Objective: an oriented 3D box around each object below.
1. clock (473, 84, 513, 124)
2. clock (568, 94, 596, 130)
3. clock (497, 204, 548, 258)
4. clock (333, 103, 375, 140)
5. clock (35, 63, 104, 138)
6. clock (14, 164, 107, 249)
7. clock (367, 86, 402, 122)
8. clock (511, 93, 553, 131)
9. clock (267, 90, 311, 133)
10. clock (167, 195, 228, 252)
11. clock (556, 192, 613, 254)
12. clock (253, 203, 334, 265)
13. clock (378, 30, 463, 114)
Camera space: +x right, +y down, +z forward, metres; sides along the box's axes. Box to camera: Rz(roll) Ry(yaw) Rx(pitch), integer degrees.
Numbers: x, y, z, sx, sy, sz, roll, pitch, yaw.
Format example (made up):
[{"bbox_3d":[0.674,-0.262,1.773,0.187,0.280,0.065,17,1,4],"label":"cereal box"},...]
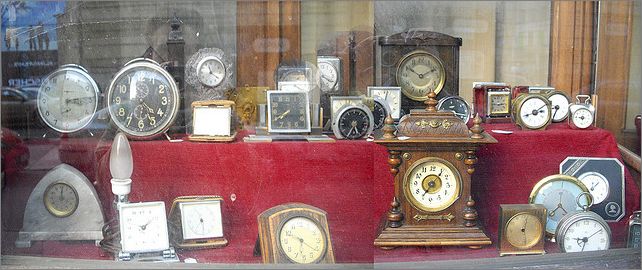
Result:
[{"bbox_3d":[1.720,-0.298,8.493,0.282,0.334,0.290,0,9,4],"label":"clock"},{"bbox_3d":[2.517,-0.212,8.428,0.252,0.306,0.200,1,14,-3],"label":"clock"},{"bbox_3d":[1.880,0.895,8.205,0.521,0.500,0.199,0,1,-2],"label":"clock"},{"bbox_3d":[0.326,-0.111,8.249,0.389,0.359,0.377,0,-15,11],"label":"clock"},{"bbox_3d":[-2.288,-0.321,8.177,0.740,0.791,0.326,0,-3,1],"label":"clock"},{"bbox_3d":[-2.368,0.664,8.193,0.866,0.678,0.303,0,1,-1],"label":"clock"},{"bbox_3d":[0.587,-0.299,8.263,0.363,0.328,0.036,0,-1,-1],"label":"clock"},{"bbox_3d":[2.051,-0.205,8.428,0.404,0.332,0.355,2,-4,-9],"label":"clock"},{"bbox_3d":[-0.276,-0.220,8.213,0.497,0.455,0.091,14,7,20],"label":"clock"},{"bbox_3d":[-1.155,0.805,8.304,0.569,0.426,0.544,-1,0,-38],"label":"clock"},{"bbox_3d":[2.508,0.870,8.355,0.529,0.636,0.247,-3,17,2],"label":"clock"},{"bbox_3d":[-0.240,0.924,8.152,0.599,0.509,0.228,-1,-4,-4],"label":"clock"},{"bbox_3d":[0.917,-0.607,8.278,0.839,0.852,0.317,0,2,-5],"label":"clock"}]
